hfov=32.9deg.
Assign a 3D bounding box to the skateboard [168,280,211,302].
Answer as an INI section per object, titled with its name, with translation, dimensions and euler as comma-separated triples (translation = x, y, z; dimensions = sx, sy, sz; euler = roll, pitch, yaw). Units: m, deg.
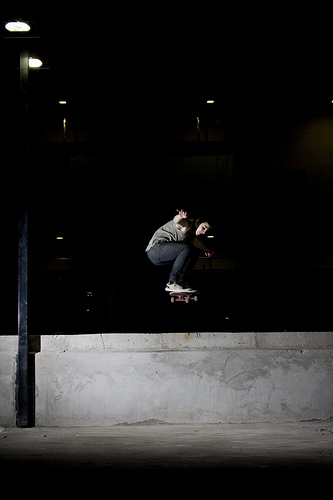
[skateboard]
translation = 0.291, 0.537, 7.159
dimensions = 0.515, 0.277, 0.204
euler = 4, 26, -6
